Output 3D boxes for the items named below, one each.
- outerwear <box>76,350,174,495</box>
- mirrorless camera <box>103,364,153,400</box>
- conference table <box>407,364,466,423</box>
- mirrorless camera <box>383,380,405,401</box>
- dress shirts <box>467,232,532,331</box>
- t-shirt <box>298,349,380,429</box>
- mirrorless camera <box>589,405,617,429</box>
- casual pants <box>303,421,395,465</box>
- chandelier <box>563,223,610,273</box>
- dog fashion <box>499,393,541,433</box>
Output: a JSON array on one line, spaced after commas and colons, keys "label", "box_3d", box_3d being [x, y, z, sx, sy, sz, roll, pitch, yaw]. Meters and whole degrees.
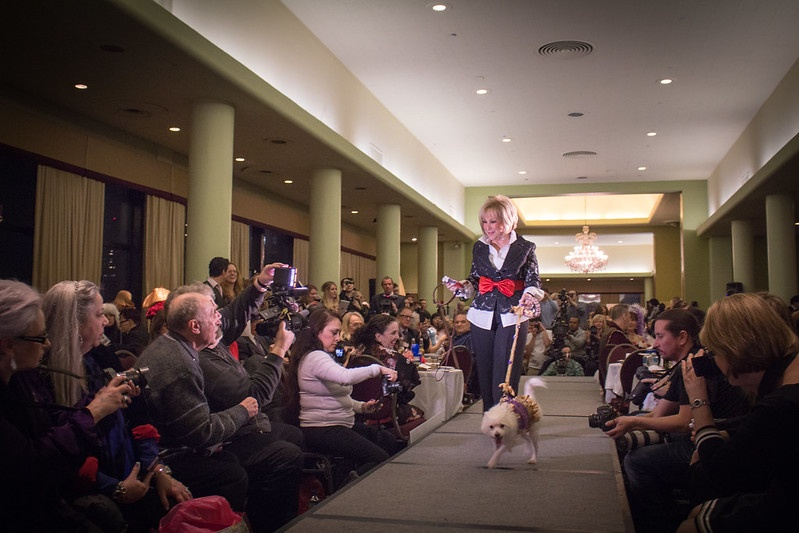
[{"label": "outerwear", "box_3d": [-1.350, 0.816, 2.701, 0.230, 0.579, 0.576, -24, -31, -39]}, {"label": "mirrorless camera", "box_3d": [-1.418, 0.607, 2.689, 0.196, 0.188, 0.400, 4, -6, -24]}, {"label": "conference table", "box_3d": [0.446, 1.404, 5.814, 0.566, 0.514, 0.577, 0, -8, 7]}, {"label": "mirrorless camera", "box_3d": [-0.061, 1.006, 4.262, 0.217, 0.198, 0.203, 1, -13, 3]}, {"label": "dress shirts", "box_3d": [0.756, 0.103, 3.897, 0.541, 0.686, 0.379, 4, 10, 20]}, {"label": "t-shirt", "box_3d": [-0.486, 0.966, 4.120, 0.602, 0.508, 0.759, -1, -17, -7]}, {"label": "mirrorless camera", "box_3d": [1.217, 0.895, 3.121, 0.145, 0.111, 0.188, -1, -6, 13]}, {"label": "casual pants", "box_3d": [-0.425, 1.363, 4.022, 0.502, 0.137, 0.418, 11, -11, 4]}, {"label": "chandelier", "box_3d": [7.366, -0.859, 20.589, 1.315, 1.589, 1.270, 2, -7, 26]}, {"label": "dog fashion", "box_3d": [0.841, 0.982, 3.472, 0.133, 0.233, 0.282, 22, -8, -36]}]
